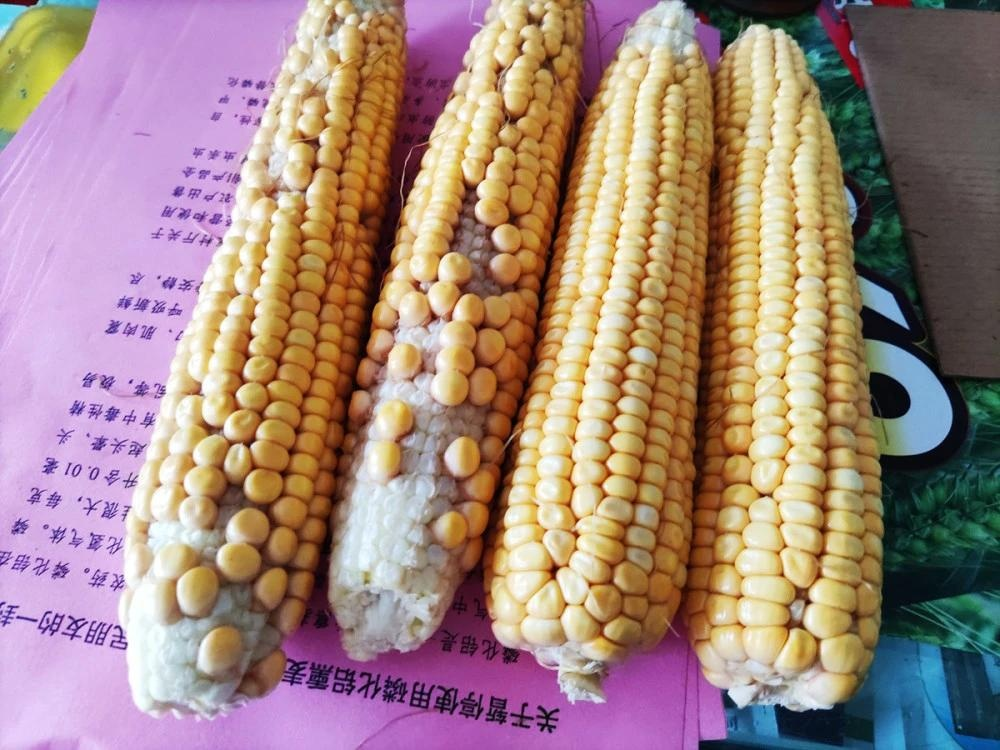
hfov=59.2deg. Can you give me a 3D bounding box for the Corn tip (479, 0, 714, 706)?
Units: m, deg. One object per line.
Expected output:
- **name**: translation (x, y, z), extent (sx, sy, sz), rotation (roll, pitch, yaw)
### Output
- **Corn tip**: translation (0.182, -0.083, 1.324), extent (0.233, 0.246, 1.047), rotation (12, 67, -4)

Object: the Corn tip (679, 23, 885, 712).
- **Corn tip**: translation (0.377, -0.051, 1.323), extent (0.222, 0.246, 1.006), rotation (2, 66, 6)
